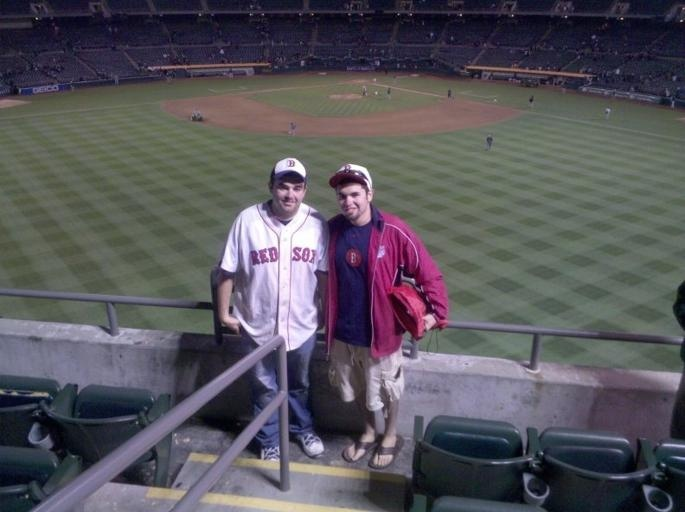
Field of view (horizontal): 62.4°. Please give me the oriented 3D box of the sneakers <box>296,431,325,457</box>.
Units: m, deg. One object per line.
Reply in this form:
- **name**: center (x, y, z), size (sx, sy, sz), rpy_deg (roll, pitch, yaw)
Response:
- **sneakers**: center (-0.278, 1.610, 4.854), size (0.138, 0.089, 0.271), rpy_deg (-6, 9, -36)

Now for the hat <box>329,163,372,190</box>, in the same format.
- **hat**: center (0.072, -0.612, 4.453), size (0.330, 0.197, 0.254), rpy_deg (5, 7, -1)

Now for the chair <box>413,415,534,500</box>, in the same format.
- **chair**: center (0.957, 1.424, 4.128), size (0.590, 0.696, 0.616), rpy_deg (2, 46, 13)

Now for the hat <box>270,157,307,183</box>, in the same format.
- **hat**: center (-0.444, -0.703, 4.597), size (0.247, 0.147, 0.300), rpy_deg (2, 5, -10)

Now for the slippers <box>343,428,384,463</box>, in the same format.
- **slippers**: center (0.170, 1.603, 4.868), size (0.178, 0.157, 0.479), rpy_deg (10, 9, 38)

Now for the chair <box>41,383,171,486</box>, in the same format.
- **chair**: center (-1.871, 1.400, 4.438), size (0.900, 0.646, 0.456), rpy_deg (6, 8, 8)
